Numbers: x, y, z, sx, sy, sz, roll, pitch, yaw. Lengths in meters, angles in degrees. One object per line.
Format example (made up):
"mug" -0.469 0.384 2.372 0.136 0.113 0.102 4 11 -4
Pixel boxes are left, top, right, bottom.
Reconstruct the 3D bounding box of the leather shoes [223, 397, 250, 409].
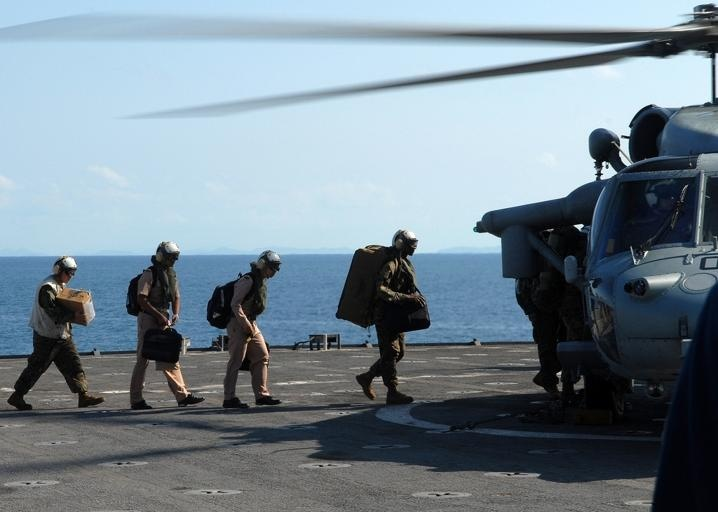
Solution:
"leather shoes" -1.578 1.870 13.217 0.400 0.124 0.115 0 -4 4

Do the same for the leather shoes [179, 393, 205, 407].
"leather shoes" -2.097 1.844 13.398 0.442 0.149 0.127 -4 12 -9

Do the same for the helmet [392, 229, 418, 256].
"helmet" 0.623 -0.179 13.603 0.475 0.357 0.359 -3 6 2

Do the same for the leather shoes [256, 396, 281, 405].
"leather shoes" -1.187 1.874 13.540 0.393 0.137 0.112 0 6 0

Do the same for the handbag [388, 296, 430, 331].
"handbag" 0.631 0.740 13.423 0.574 0.409 0.235 -2 -18 2
